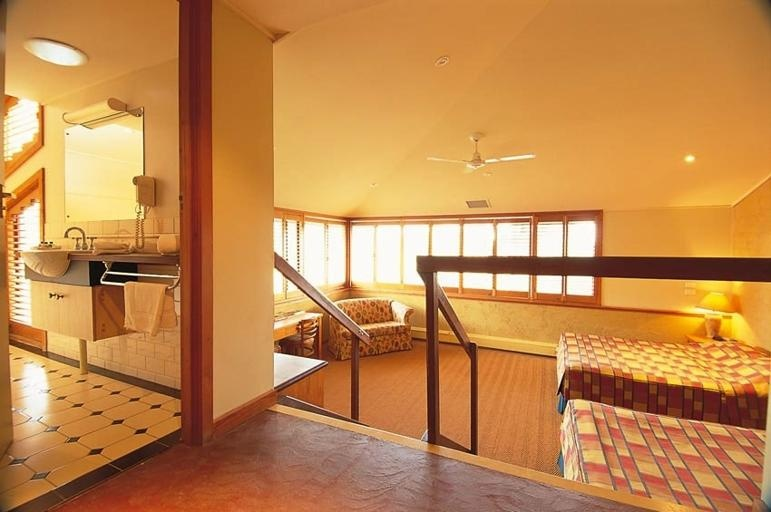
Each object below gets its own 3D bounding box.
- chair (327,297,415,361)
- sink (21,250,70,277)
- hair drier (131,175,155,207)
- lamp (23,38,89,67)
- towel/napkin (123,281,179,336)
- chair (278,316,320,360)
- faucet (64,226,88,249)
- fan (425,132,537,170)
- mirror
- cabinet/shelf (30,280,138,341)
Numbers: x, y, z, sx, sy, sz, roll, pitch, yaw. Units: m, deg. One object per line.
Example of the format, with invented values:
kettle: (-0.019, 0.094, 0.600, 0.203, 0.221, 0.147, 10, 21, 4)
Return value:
chair: (-0.300, 1.191, 9.006, 1.438, 0.850, 0.792, -3, 5, -31)
sink: (-3.512, 0.079, 5.460, 0.347, 0.303, 0.647, -3, 2, -42)
hair drier: (-2.455, -0.624, 5.409, 0.224, 0.348, 0.234, -3, -21, -15)
lamp: (-3.248, -2.025, 5.223, 0.579, 0.138, 0.239, -2, 1, -14)
towel/napkin: (-2.265, 0.479, 5.068, 0.570, 0.436, 0.213, 4, 2, 31)
chair: (-1.248, 1.231, 7.814, 0.555, 0.654, 0.725, -1, 1, 5)
faucet: (-3.382, -0.195, 5.817, 0.227, 0.263, 0.463, -2, 2, -30)
fan: (1.201, -1.269, 6.844, 0.766, 0.278, 0.785, -1, 6, -20)
mirror: (-2.959, -1.003, 5.665, 1.336, 1.354, 0.256, 1, 0, 31)
cabinet/shelf: (-3.290, 0.539, 5.672, 1.118, 0.549, 0.386, 4, 5, 29)
